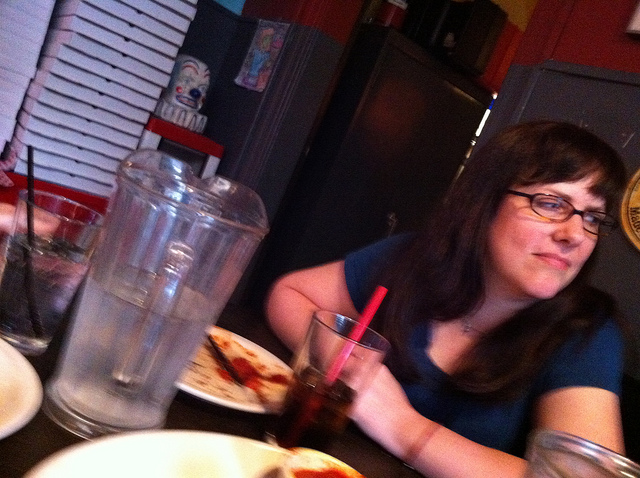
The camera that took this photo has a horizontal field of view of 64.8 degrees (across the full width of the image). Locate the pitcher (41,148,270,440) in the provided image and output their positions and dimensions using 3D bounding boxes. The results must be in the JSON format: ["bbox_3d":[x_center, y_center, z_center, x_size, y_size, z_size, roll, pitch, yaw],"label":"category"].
[{"bbox_3d":[-0.208,0.081,0.616,0.196,0.335,0.225,21,2,-23],"label":"pitcher"}]

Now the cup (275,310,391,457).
[{"bbox_3d":[0.000,0.224,0.739,0.113,0.183,0.115,29,-9,5],"label":"cup"}]

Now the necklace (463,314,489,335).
[{"bbox_3d":[0.455,0.249,1.503,0.050,0.062,0.066,-12,4,-43],"label":"necklace"}]

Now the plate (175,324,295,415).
[{"bbox_3d":[-0.140,0.215,0.807,0.189,0.028,0.201,25,19,-4],"label":"plate"}]

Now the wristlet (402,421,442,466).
[{"bbox_3d":[0.186,0.367,0.920,0.056,0.058,0.060,-35,92,-32],"label":"wristlet"}]
